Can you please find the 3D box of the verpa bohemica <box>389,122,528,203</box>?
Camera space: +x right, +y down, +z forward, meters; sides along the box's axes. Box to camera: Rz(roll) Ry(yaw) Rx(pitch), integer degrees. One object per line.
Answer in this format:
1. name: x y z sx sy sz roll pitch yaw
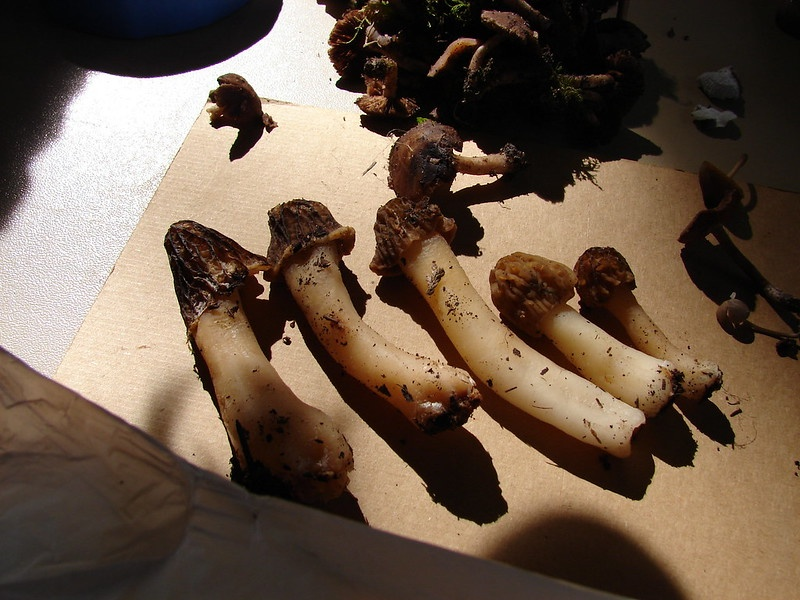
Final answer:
1. verpa bohemica: 0.272 -0.647 3.752 0.584 0.292 0.383 -1 43 19
